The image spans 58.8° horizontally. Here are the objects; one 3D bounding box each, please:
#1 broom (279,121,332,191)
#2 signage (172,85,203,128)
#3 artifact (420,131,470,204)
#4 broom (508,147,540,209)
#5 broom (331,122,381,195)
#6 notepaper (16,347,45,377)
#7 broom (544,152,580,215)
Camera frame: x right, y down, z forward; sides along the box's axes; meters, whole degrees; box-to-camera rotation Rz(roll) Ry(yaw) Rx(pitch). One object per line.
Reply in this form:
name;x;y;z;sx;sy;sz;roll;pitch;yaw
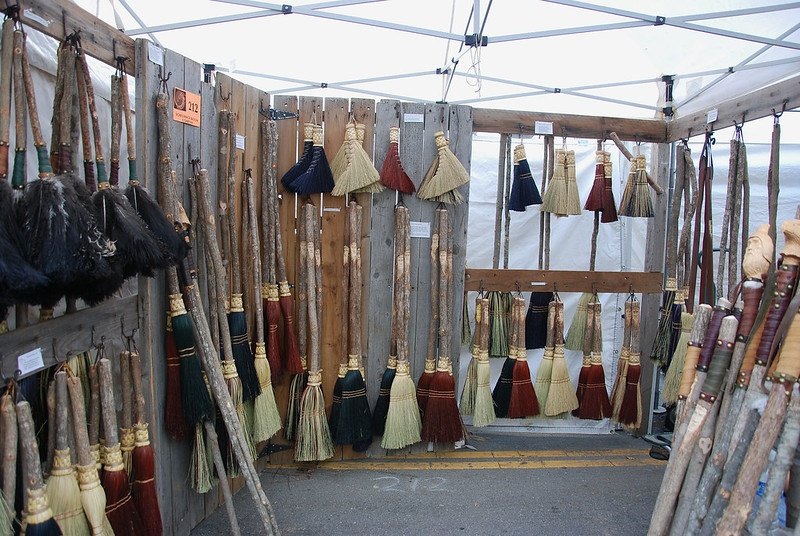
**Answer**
broom;-0.628;-0.794;5.174;0.317;0.471;0.422;14;15;-9
signage;-1.325;-1.012;4.395;0.273;0.219;0.006;18;19;32
artifact;0.349;-0.804;5.250;0.323;0.410;0.259;-9;-12;-11
broom;0.917;-0.736;5.457;0.247;0.422;0.206;-12;34;2
broom;-0.331;-0.754;5.347;0.405;0.628;0.583;-1;4;-4
notepaper;-1.930;0.468;3.679;0.012;0.117;0.122;-7;14;36
broom;1.261;-0.687;5.470;0.290;0.499;0.296;10;15;12
